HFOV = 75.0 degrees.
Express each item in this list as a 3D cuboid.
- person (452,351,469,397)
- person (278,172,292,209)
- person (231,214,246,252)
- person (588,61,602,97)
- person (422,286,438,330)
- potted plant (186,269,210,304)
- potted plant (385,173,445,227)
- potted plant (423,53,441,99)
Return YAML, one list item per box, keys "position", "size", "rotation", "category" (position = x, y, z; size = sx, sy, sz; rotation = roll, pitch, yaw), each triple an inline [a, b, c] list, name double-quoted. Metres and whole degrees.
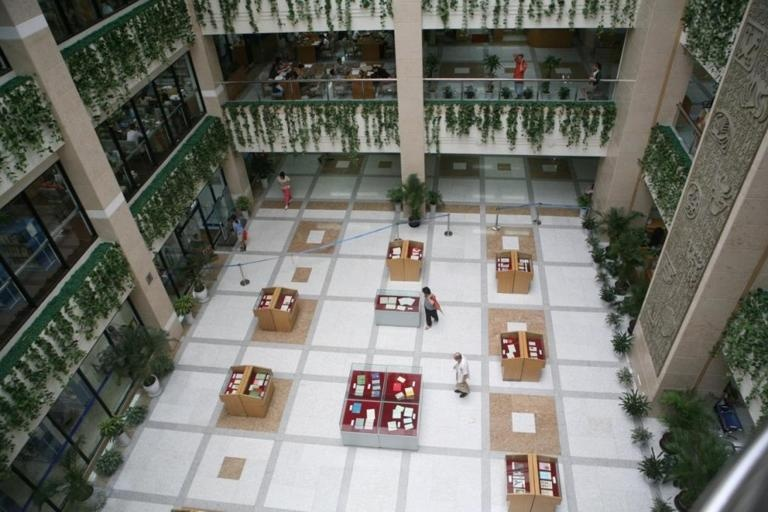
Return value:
- position: [2.360, 3.408, 14.962]
  size: [0.461, 1.842, 0.583]
  rotation: [0, 34, 8]
  category: "person"
- position: [-4.284, -3.029, 21.868]
  size: [0.461, 1.691, 1.153]
  rotation: [-12, 34, -10]
  category: "person"
- position: [-5.779, -0.997, 20.153]
  size: [0.437, 1.373, 0.945]
  rotation: [-15, 35, -14]
  category: "person"
- position: [7.765, -6.472, 18.324]
  size: [0.389, 1.015, 1.349]
  rotation: [9, 36, 20]
  category: "person"
- position: [1.618, 1.587, 16.701]
  size: [0.548, 1.725, 0.552]
  rotation: [-8, 33, -4]
  category: "person"
- position: [-6.814, 1.151, 18.268]
  size: [0.777, 1.270, 0.806]
  rotation: [9, 54, -2]
  category: "potted plant"
- position: [1.270, -2.331, 20.484]
  size: [2.021, 2.067, 1.190]
  rotation: [0, 34, 7]
  category: "potted plant"
- position: [1.890, -6.956, 19.504]
  size: [0.611, 1.099, 2.177]
  rotation: [-1, 33, 7]
  category: "potted plant"
